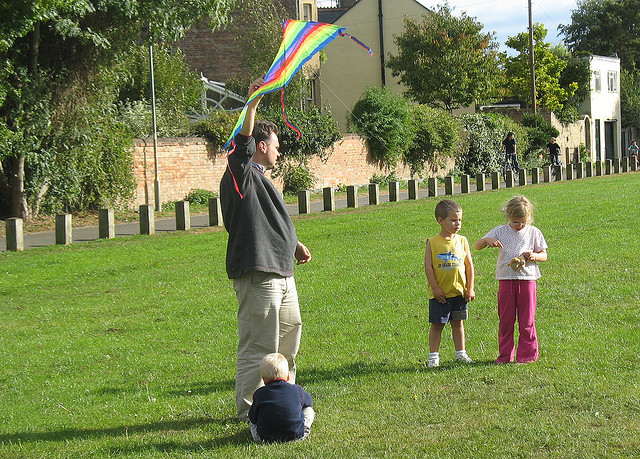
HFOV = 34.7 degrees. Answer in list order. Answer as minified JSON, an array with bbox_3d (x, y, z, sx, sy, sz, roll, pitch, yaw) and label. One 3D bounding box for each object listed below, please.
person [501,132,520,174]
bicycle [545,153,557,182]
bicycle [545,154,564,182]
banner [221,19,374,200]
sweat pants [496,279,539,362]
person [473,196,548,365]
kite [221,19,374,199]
[{"bbox_3d":[7.784,-3.157,42.194,0.623,1.550,1.672,-3,0,10],"label":"person"},{"bbox_3d":[10.059,-2.756,44.256,0.291,1.121,1.722,-3,0,13],"label":"bicycle"},{"bbox_3d":[10.194,-2.749,44.382,0.451,1.020,1.410,-3,0,13],"label":"bicycle"},{"bbox_3d":[-0.951,-2.884,18.335,2.886,1.502,3.204,22,38,35],"label":"banner"},{"bbox_3d":[3.638,1.679,19.144,0.766,1.410,0.232,-3,0,10],"label":"sweat pants"},{"bbox_3d":[3.664,0.935,19.179,1.086,2.879,0.537,-3,0,8],"label":"person"},{"bbox_3d":[-0.671,-2.692,18.715,1.784,3.994,2.680,-9,14,-40],"label":"kite"}]
